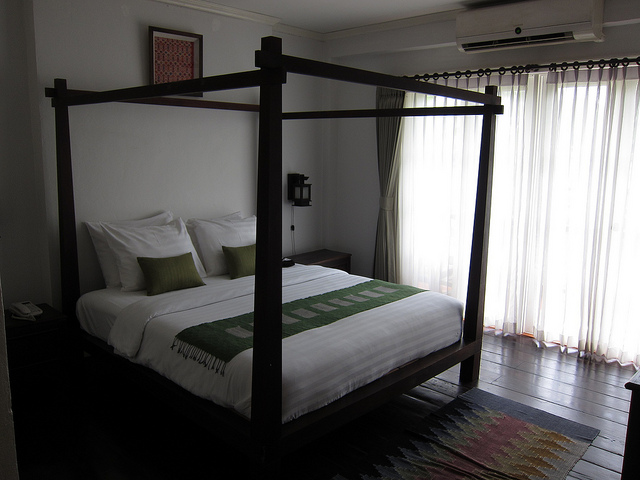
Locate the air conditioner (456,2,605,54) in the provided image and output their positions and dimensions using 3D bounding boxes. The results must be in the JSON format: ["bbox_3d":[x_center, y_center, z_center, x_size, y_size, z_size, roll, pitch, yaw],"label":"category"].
[{"bbox_3d":[1.974,-2.045,4.721,1.401,0.515,0.487,9,16,36],"label":"air conditioner"}]

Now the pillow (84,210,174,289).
[{"bbox_3d":[-1.669,0.053,4.652,0.554,0.722,1.174,7,9,39],"label":"pillow"}]

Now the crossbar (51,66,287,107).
[{"bbox_3d":[-1.115,-1.026,3.349,2.363,0.123,0.147,10,19,38],"label":"crossbar"}]

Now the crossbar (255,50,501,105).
[{"bbox_3d":[0.483,-1.058,3.278,2.143,0.272,0.144,-14,19,-40],"label":"crossbar"}]

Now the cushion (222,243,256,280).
[{"bbox_3d":[-0.718,0.223,5.137,0.181,0.353,0.531,-6,1,44],"label":"cushion"}]

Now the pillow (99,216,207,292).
[{"bbox_3d":[-1.619,0.052,4.613,0.196,0.663,0.667,-38,-16,37],"label":"pillow"}]

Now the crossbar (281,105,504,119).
[{"bbox_3d":[0.600,-1.178,4.565,2.039,0.072,0.324,6,16,27],"label":"crossbar"}]

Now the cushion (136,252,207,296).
[{"bbox_3d":[-1.402,0.295,4.559,0.258,0.353,0.614,-12,-2,43],"label":"cushion"}]

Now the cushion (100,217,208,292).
[{"bbox_3d":[-1.648,0.060,4.594,0.208,0.706,0.711,-38,-16,34],"label":"cushion"}]

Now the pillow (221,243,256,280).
[{"bbox_3d":[-0.773,0.222,5.143,0.184,0.349,0.529,-2,3,27],"label":"pillow"}]

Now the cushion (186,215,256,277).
[{"bbox_3d":[-1.092,-0.024,5.255,0.397,0.641,0.782,11,13,39],"label":"cushion"}]

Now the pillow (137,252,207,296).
[{"bbox_3d":[-1.359,0.281,4.476,0.129,0.339,0.482,-35,-14,34],"label":"pillow"}]

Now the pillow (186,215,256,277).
[{"bbox_3d":[-1.008,-0.010,5.181,0.401,0.639,0.794,11,13,39],"label":"pillow"}]

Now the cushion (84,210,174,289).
[{"bbox_3d":[-2.046,0.028,4.958,0.572,0.711,1.101,6,8,38],"label":"cushion"}]

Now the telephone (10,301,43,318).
[{"bbox_3d":[-2.564,0.601,4.315,0.194,0.050,0.148,21,14,27],"label":"telephone"}]
